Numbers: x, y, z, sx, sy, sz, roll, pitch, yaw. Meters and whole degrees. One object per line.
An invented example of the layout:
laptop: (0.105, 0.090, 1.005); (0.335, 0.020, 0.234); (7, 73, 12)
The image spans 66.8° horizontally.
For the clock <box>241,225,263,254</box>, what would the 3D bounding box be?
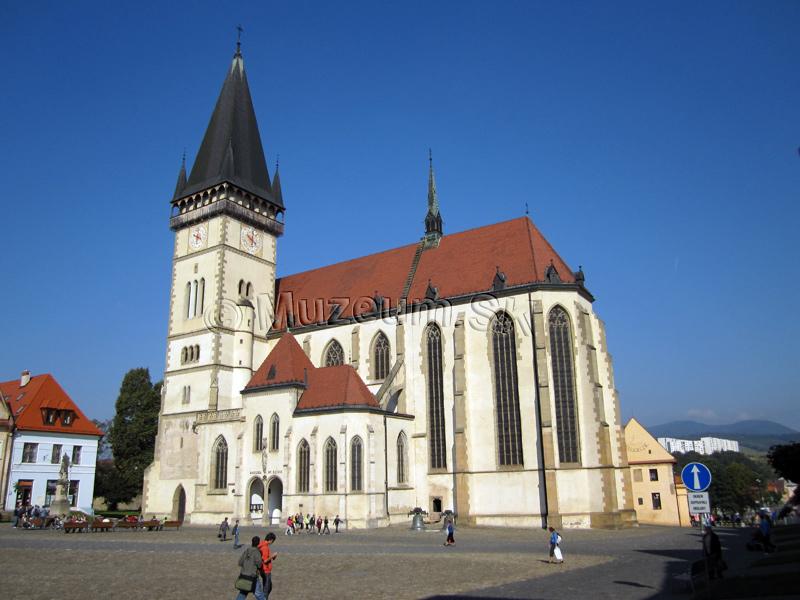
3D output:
clock: (-12.702, -5.174, 51.900); (0.217, 2.043, 2.122); (-20, -31, 25)

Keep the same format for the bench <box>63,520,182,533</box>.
bench: (-17.089, 13.673, 36.821); (2.772, 0.754, 6.711); (-20, -26, 38)
